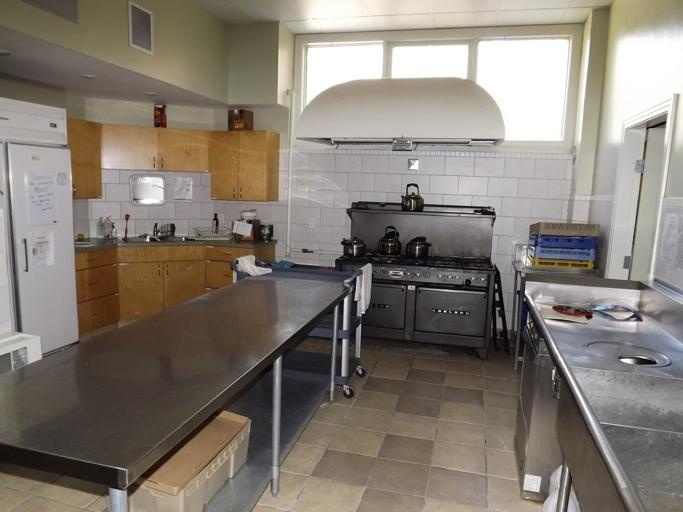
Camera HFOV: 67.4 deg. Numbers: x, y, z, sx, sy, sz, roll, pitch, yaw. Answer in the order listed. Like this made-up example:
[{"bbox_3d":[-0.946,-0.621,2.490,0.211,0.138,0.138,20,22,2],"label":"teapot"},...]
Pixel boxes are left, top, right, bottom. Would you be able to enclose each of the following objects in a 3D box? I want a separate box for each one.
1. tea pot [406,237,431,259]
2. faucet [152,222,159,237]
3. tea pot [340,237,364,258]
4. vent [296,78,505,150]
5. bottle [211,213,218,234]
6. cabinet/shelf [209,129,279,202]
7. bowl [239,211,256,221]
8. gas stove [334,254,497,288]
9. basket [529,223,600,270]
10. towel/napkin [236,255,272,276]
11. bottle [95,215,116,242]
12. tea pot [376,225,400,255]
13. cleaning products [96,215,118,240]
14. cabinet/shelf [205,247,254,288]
[{"bbox_3d":[0.796,-0.085,5.347,0.253,0.231,0.192,0,7,7],"label":"tea pot"},{"bbox_3d":[-2.290,-0.339,6.293,0.070,0.154,0.195,-3,10,-20],"label":"faucet"},{"bbox_3d":[0.119,-0.096,5.405,0.231,0.164,0.178,-8,13,-43],"label":"tea pot"},{"bbox_3d":[0.522,-1.280,4.561,1.780,0.612,0.282,2,10,11],"label":"vent"},{"bbox_3d":[-1.596,-0.424,6.464,0.090,0.233,0.160,-2,10,-13],"label":"bottle"},{"bbox_3d":[-1.158,-1.087,6.030,0.793,0.782,0.323,2,5,17],"label":"cabinet/shelf"},{"bbox_3d":[-1.128,-0.500,6.194,0.194,0.127,0.186,0,9,0],"label":"bowl"},{"bbox_3d":[0.809,0.133,5.291,1.470,0.261,0.460,2,9,12],"label":"gas stove"},{"bbox_3d":[2.062,-0.102,4.733,0.439,0.393,0.599,2,7,20],"label":"basket"},{"bbox_3d":[-0.772,0.073,4.449,0.353,0.147,0.307,6,11,30],"label":"towel/napkin"},{"bbox_3d":[-2.762,-0.340,6.005,0.216,0.243,0.356,-4,10,-26],"label":"bottle"},{"bbox_3d":[0.469,-0.150,5.500,0.208,0.343,0.347,0,-3,7],"label":"tea pot"},{"bbox_3d":[-2.811,-0.339,6.071,0.293,0.407,0.145,0,1,-19],"label":"cleaning products"},{"bbox_3d":[-1.389,0.078,6.137,0.522,0.753,0.493,0,3,-1],"label":"cabinet/shelf"}]
